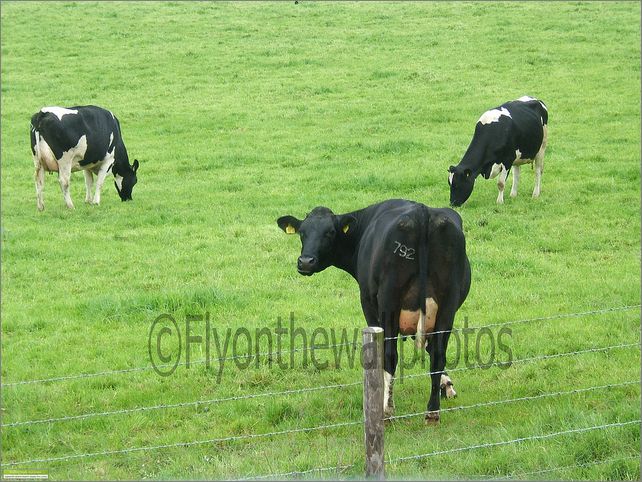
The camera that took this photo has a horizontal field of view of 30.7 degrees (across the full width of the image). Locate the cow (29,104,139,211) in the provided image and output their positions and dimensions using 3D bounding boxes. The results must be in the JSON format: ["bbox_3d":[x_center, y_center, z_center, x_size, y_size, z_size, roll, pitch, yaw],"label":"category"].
[{"bbox_3d":[-8.126,-2.953,40.632,1.837,3.817,4.639,6,9,34],"label":"cow"}]

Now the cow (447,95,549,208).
[{"bbox_3d":[6.056,-2.970,39.208,4.858,3.814,1.605,-17,23,-41],"label":"cow"}]
